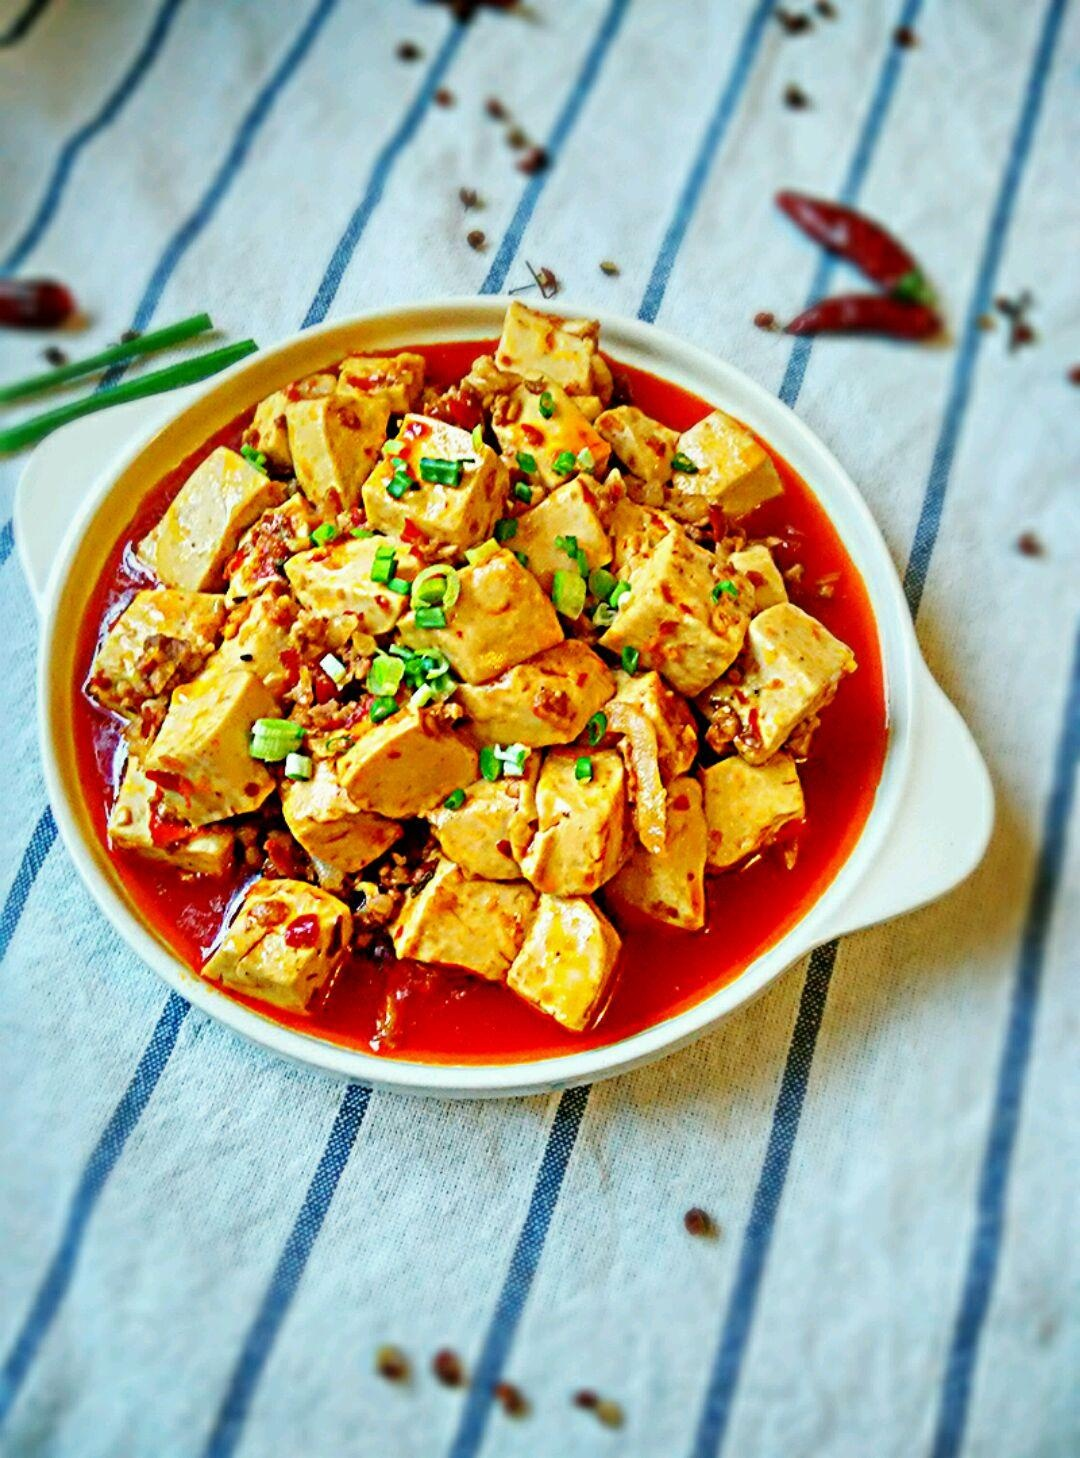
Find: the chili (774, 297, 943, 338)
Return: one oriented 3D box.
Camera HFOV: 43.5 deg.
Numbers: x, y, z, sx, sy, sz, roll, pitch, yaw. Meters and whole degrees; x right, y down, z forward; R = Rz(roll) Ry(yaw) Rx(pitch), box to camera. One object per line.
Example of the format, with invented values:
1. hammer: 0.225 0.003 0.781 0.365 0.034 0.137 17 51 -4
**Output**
1. chili: 0.715 -0.896 3.010 0.413 0.120 0.098 1 80 3
